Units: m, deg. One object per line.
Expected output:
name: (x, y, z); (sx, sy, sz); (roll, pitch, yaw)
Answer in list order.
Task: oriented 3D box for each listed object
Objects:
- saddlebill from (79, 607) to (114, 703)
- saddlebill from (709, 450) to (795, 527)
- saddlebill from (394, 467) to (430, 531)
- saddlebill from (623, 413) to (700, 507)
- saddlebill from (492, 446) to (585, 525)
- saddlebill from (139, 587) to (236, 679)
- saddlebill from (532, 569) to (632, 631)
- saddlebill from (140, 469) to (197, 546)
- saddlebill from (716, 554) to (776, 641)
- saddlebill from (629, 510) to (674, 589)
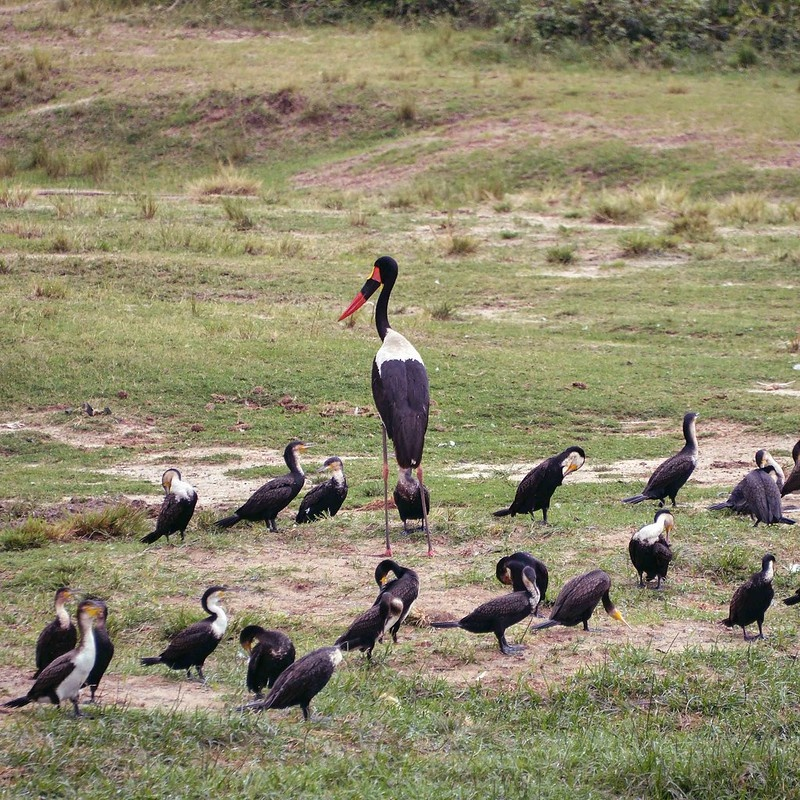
saddlebill: (-3.969, 3.372, 27.901); (0.392, 1.156, 0.893); (7, 7, -15)
saddlebill: (5.469, 1.346, 32.536); (1.189, 1.008, 1.215); (3, 9, 10)
saddlebill: (0.174, 1.478, 32.034); (0.413, 1.127, 0.931); (-5, 51, 10)
saddlebill: (4.151, 0.980, 32.865); (0.951, 1.430, 1.127); (6, 10, 29)
saddlebill: (2.183, 1.218, 32.101); (1.152, 1.087, 0.423); (2, 9, 2)
saddlebill: (-2.823, 3.156, 28.671); (1.045, 1.247, 0.481); (0, 9, -6)
saddlebill: (2.509, 2.810, 29.571); (1.357, 0.880, 0.476); (-3, 10, -26)
saddlebill: (-3.380, 1.619, 31.632); (0.743, 1.122, 0.433); (1, 9, -2)
saddlebill: (4.930, 2.746, 29.657); (0.657, 1.166, 0.524); (-5, 11, -35)
saddlebill: (3.635, 2.171, 30.734); (0.534, 1.109, 1.269); (-1, -2, 29)
